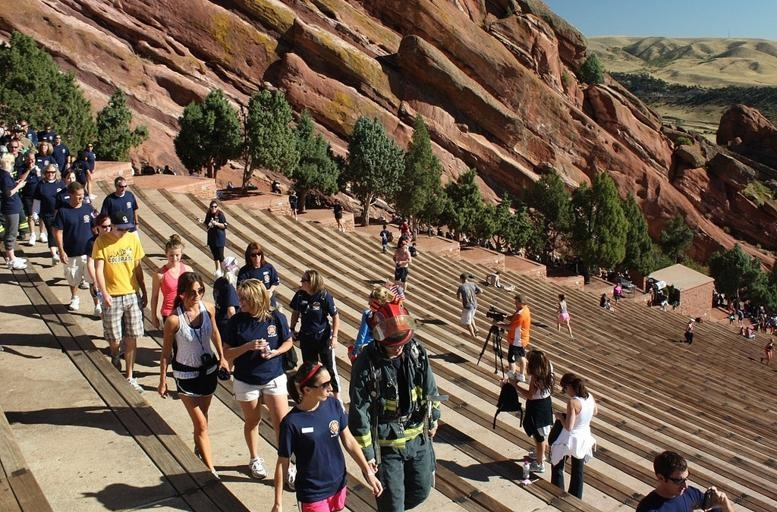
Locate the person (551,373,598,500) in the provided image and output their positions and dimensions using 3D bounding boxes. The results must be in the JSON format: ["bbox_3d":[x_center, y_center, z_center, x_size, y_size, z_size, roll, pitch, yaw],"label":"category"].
[{"bbox_3d":[4.565,4.526,19.543,1.103,3.143,0.757,7,11,11],"label":"person"}]

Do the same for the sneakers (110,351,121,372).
[{"bbox_3d":[-7.013,2.710,20.197,0.202,0.576,0.220,-13,7,-10],"label":"sneakers"}]

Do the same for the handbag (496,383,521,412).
[{"bbox_3d":[3.075,3.687,20.446,0.529,0.790,0.766,1,3,0],"label":"handbag"}]

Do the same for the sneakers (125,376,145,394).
[{"bbox_3d":[-6.464,3.243,19.796,0.589,0.258,0.223,36,23,14],"label":"sneakers"}]

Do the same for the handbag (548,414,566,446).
[{"bbox_3d":[4.164,4.372,19.635,0.160,0.702,0.413,30,3,27],"label":"handbag"}]

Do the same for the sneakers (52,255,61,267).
[{"bbox_3d":[-10.065,0.114,23.709,0.144,0.388,0.168,-3,53,-51],"label":"sneakers"}]

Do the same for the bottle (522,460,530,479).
[{"bbox_3d":[3.456,5.373,19.564,0.213,0.408,0.158,3,11,-11],"label":"bottle"}]
